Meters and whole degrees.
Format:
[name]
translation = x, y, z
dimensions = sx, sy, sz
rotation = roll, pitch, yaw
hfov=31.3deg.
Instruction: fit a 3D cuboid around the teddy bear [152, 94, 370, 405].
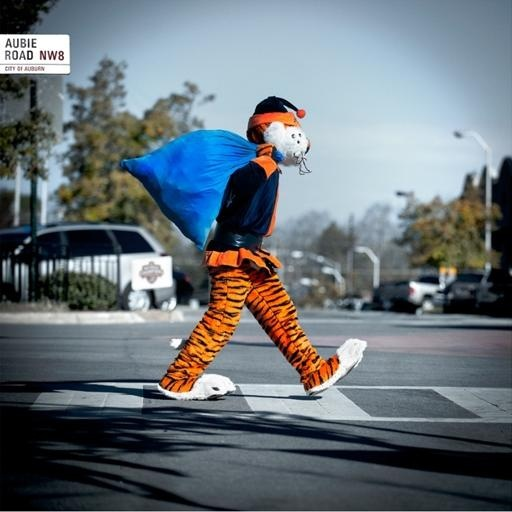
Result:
[teddy bear]
translation = -0.013, -0.040, 5.780
dimensions = 1.189, 1.955, 0.455
rotation = 0, 2, -6
